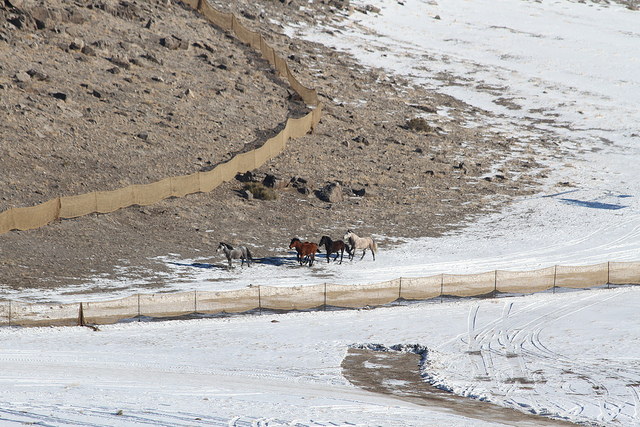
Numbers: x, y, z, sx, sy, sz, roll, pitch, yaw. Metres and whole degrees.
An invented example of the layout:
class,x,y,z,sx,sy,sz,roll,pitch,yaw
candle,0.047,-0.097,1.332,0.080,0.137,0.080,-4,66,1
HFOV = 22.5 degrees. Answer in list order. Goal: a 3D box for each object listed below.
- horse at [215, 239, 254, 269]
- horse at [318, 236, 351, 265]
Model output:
class,x,y,z,sx,sy,sz,roll,pitch,yaw
horse,-8.007,3.718,148.419,3.367,2.395,2.817,-3,8,-4
horse,1.259,3.312,149.525,2.921,2.633,1.872,-3,9,0
